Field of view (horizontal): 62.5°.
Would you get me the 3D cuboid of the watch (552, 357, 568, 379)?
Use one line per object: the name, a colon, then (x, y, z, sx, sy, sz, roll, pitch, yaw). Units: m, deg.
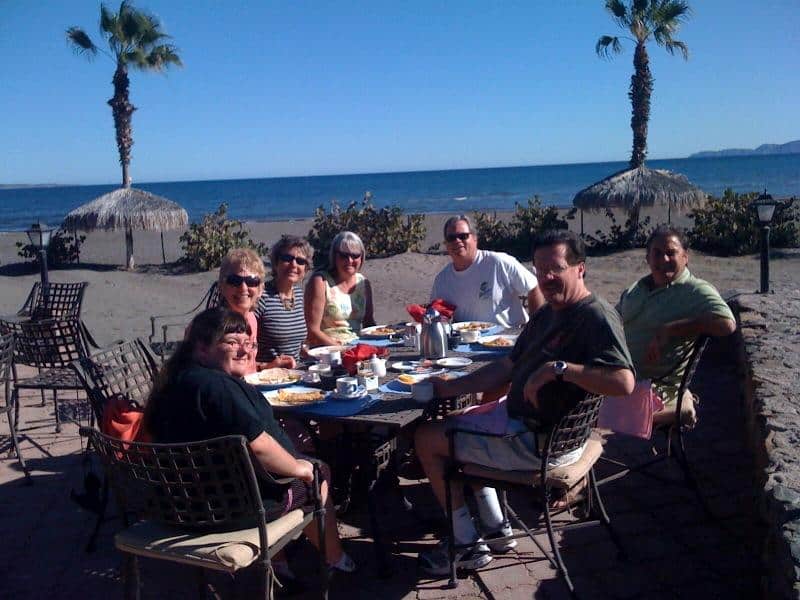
watch: (0.872, 0.376, 3.614, 0.064, 0.103, 0.095, 2, -4, 19)

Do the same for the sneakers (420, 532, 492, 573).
sneakers: (0.328, 1.555, 4.119, 0.504, 0.251, 0.195, 0, -2, -2)

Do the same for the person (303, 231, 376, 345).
person: (-0.490, -0.032, 5.655, 0.680, 1.098, 0.629, -4, 6, -37)

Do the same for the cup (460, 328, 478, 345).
cup: (0.533, 0.282, 5.148, 0.120, 0.081, 0.090, 2, -4, -33)

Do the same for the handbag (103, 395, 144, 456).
handbag: (-1.427, 0.661, 3.402, 0.254, 0.292, 0.188, -7, 3, -43)

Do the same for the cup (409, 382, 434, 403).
cup: (0.126, 0.546, 3.943, 0.111, 0.083, 0.109, 1, 6, 0)

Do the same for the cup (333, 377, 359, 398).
cup: (-0.329, 0.524, 4.001, 0.128, 0.087, 0.093, -8, 12, -31)

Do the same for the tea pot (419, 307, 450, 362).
tea pot: (0.206, 0.256, 4.882, 0.175, 0.301, 0.305, 4, 12, 6)

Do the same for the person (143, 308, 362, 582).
person: (-0.851, 0.882, 3.755, 1.145, 1.550, 0.908, 1, -6, -38)

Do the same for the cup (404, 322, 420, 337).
cup: (0.093, 0.226, 5.225, 0.086, 0.103, 0.115, -3, -6, 34)

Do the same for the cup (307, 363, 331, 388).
cup: (-0.514, 0.498, 4.304, 0.162, 0.117, 0.105, 1, 12, 4)

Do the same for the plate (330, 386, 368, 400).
plate: (-0.309, 0.541, 4.012, 0.160, 0.075, 0.100, 3, 8, 32)

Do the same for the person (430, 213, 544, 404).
person: (0.717, 0.022, 5.931, 1.029, 1.546, 0.748, -6, 15, 32)

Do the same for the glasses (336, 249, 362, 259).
glasses: (-0.416, -0.379, 5.513, 0.221, 0.094, 0.092, -6, 6, -16)
